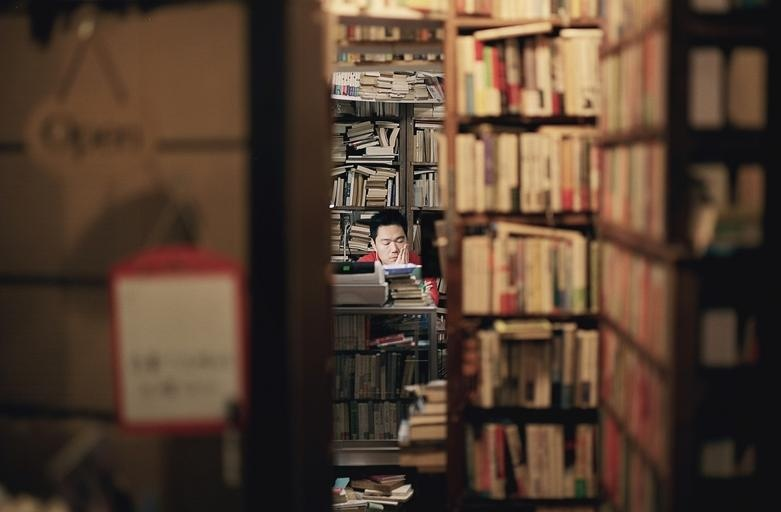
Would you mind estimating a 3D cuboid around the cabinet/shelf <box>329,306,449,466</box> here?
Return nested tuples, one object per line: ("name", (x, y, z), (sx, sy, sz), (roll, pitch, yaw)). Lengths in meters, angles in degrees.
("cabinet/shelf", (-0.007, 0.720, 6.073), (0.715, 0.827, 0.263), (-6, 2, 40))
